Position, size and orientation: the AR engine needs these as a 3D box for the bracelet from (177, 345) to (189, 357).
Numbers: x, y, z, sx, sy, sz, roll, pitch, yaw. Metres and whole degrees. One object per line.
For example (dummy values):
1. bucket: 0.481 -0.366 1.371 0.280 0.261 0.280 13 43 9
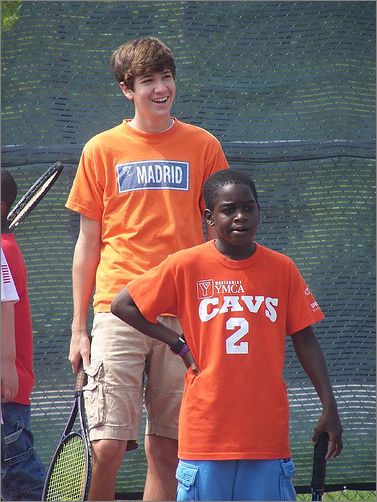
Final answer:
1. bracelet: -0.019 0.341 2.663 0.040 0.015 0.030 -44 4 -3
